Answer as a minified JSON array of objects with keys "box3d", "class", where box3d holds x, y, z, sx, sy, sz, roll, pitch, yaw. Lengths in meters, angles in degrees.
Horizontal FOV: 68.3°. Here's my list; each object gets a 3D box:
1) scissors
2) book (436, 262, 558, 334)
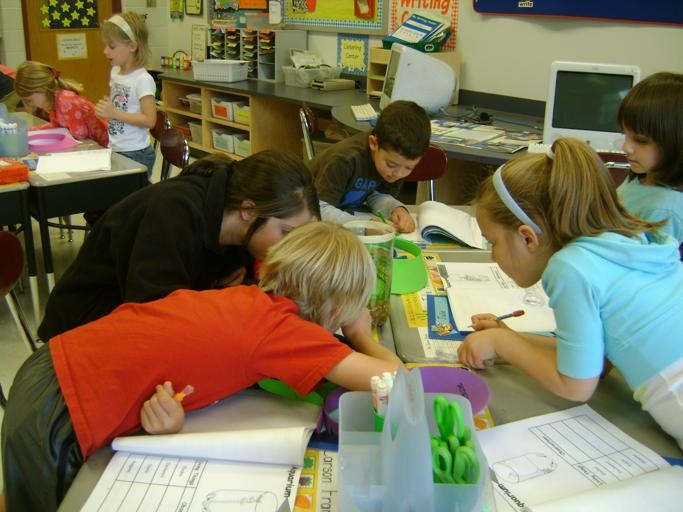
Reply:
[{"box3d":[0.171,0.292,0.778,0.063,0.124,0.080,-12,11,-8],"class":"scissors"},{"box3d":[0.430,0.117,1.447,0.171,0.040,0.235,-1,33,-9],"class":"book"}]
